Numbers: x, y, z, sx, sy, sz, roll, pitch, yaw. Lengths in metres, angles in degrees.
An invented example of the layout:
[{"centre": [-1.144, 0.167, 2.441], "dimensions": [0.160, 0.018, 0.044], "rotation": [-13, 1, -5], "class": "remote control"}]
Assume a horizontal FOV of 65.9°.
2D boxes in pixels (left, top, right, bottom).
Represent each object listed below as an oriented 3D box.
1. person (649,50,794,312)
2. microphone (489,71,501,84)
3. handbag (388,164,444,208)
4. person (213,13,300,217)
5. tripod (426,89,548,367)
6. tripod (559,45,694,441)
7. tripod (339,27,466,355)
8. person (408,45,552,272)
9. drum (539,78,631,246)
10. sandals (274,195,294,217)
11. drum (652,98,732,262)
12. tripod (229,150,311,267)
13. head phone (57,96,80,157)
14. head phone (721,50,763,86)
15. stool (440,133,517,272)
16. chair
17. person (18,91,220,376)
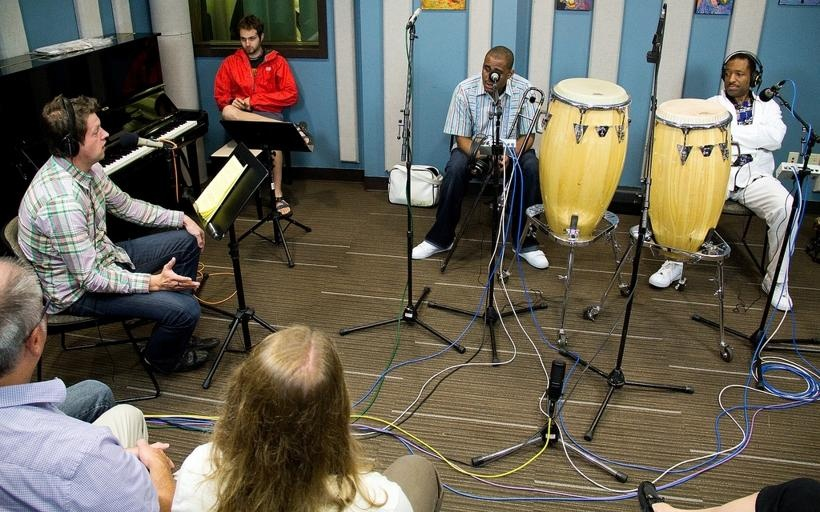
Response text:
[{"centre": [2.513, -0.653, 4.802], "dimensions": [0.955, 2.124, 0.597], "rotation": [0, 1, 7], "class": "person"}, {"centre": [0.513, -1.065, 3.809], "dimensions": [0.088, 0.092, 0.037], "rotation": [-2, 18, 0], "class": "microphone"}, {"centre": [0.036, -0.648, 5.862], "dimensions": [0.487, 0.363, 0.361], "rotation": [4, 13, 11], "class": "handbag"}, {"centre": [-1.388, -1.296, 5.790], "dimensions": [0.701, 1.655, 1.013], "rotation": [-8, 22, -22], "class": "person"}, {"centre": [0.685, -0.447, 4.828], "dimensions": [1.061, 1.937, 0.575], "rotation": [7, -16, -22], "class": "tripod"}, {"centre": [1.299, 0.090, 3.705], "dimensions": [0.790, 2.378, 0.513], "rotation": [2, -1, 7], "class": "tripod"}, {"centre": [-0.066, -0.382, 4.269], "dimensions": [0.447, 2.297, 0.846], "rotation": [-1, -11, 5], "class": "tripod"}, {"centre": [0.590, -0.841, 5.005], "dimensions": [0.981, 1.606, 1.020], "rotation": [3, 18, 5], "class": "person"}, {"centre": [1.107, -0.576, 4.149], "dimensions": [0.494, 0.832, 0.508], "rotation": [5, 10, -1], "class": "drum"}, {"centre": [-1.148, -0.447, 5.659], "dimensions": [0.095, 0.105, 0.259], "rotation": [-25, 40, -20], "class": "sandals"}, {"centre": [1.762, -0.466, 4.073], "dimensions": [0.491, 0.840, 0.497], "rotation": [-1, 15, 0], "class": "drum"}, {"centre": [-1.143, -0.366, 5.348], "dimensions": [0.575, 1.126, 0.626], "rotation": [0, -9, 0], "class": "tripod"}, {"centre": [-1.909, -0.714, 3.514], "dimensions": [0.094, 0.285, 0.254], "rotation": [-5, 18, -20], "class": "head phone"}, {"centre": [2.552, -1.436, 4.851], "dimensions": [0.358, 0.323, 0.137], "rotation": [8, 25, 32], "class": "head phone"}, {"centre": [0.515, -0.501, 4.785], "dimensions": [0.494, 1.133, 0.535], "rotation": [2, 12, 8], "class": "stool"}, {"centre": [-1.915, 0.297, 4.057], "dimensions": [0.814, 1.173, 0.867], "rotation": [-2, 24, -7], "class": "chair"}, {"centre": [-1.796, -0.052, 3.934], "dimensions": [1.098, 1.761, 0.961], "rotation": [-3, 27, -24], "class": "person"}]
